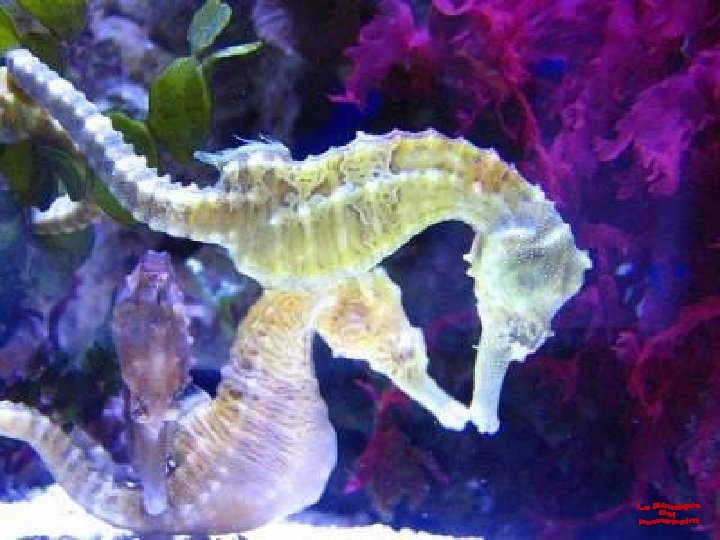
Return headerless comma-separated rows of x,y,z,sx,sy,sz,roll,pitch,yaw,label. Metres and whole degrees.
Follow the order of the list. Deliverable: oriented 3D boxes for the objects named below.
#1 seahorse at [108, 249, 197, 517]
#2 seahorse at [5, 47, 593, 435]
-0.377,0.200,1.693,0.138,0.481,0.160,-1,4,-2,seahorse
-0.119,-0.080,1.720,1.076,0.490,0.194,30,-5,6,seahorse
